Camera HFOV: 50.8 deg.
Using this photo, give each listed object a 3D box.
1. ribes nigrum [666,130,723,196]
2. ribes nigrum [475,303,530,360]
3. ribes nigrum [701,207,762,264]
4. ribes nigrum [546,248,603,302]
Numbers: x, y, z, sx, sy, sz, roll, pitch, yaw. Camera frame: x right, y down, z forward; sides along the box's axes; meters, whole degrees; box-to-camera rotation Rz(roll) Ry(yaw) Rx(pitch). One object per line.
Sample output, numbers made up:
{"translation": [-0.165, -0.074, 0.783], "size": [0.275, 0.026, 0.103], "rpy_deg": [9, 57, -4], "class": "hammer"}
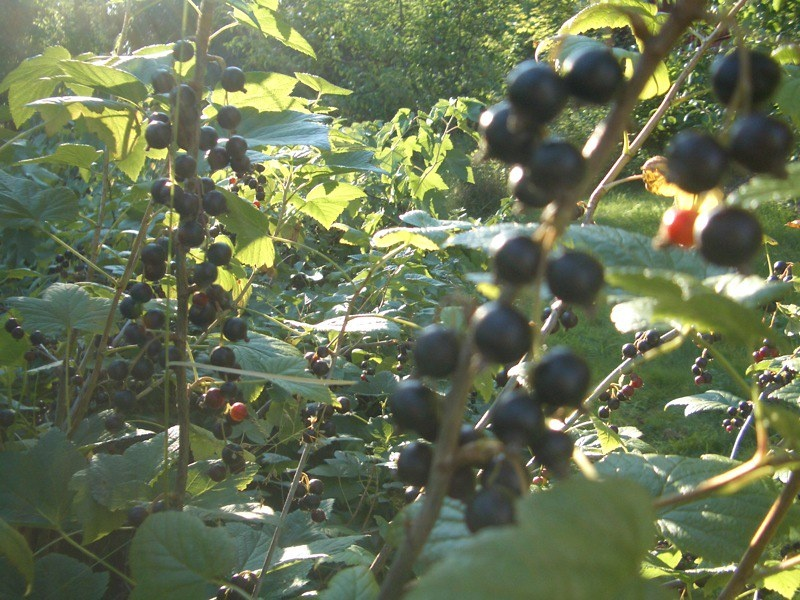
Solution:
{"translation": [0.537, -0.254, 1.624], "size": [0.111, 0.111, 0.128], "rpy_deg": [0, 38, 7], "class": "ribes nigrum"}
{"translation": [0.183, 0.059, 1.522], "size": [0.065, 0.063, 0.074], "rpy_deg": [17, 31, -27], "class": "ribes nigrum"}
{"translation": [0.620, -0.118, 1.579], "size": [0.103, 0.107, 0.123], "rpy_deg": [-11, 26, 25], "class": "ribes nigrum"}
{"translation": [0.327, -0.043, 1.606], "size": [0.096, 0.096, 0.053], "rpy_deg": [-30, 11, -2], "class": "ribes nigrum"}
